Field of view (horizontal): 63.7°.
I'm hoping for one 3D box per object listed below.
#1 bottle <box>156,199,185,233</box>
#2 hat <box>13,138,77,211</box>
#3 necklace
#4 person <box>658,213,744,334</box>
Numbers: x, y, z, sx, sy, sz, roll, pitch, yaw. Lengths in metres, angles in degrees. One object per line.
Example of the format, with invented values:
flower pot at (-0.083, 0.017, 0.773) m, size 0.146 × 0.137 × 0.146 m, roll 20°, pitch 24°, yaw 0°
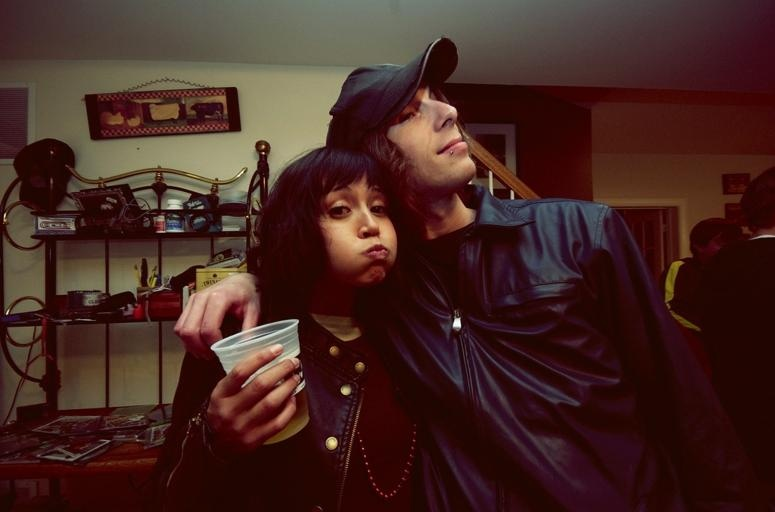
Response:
bottle at (-1.642, -0.274, 4.571) m, size 0.231 × 0.261 × 0.230 m, roll -4°, pitch -6°, yaw 35°
hat at (-2.585, -0.638, 4.743) m, size 0.436 × 0.561 × 0.135 m, roll 8°, pitch 6°, yaw -7°
necklace at (-0.001, 1.077, 3.376) m, size 0.233 × 0.430 × 0.081 m, roll 2°, pitch -5°, yaw -5°
person at (2.419, 0.128, 4.734) m, size 0.482 × 0.899 × 0.893 m, roll -3°, pitch -3°, yaw -9°
